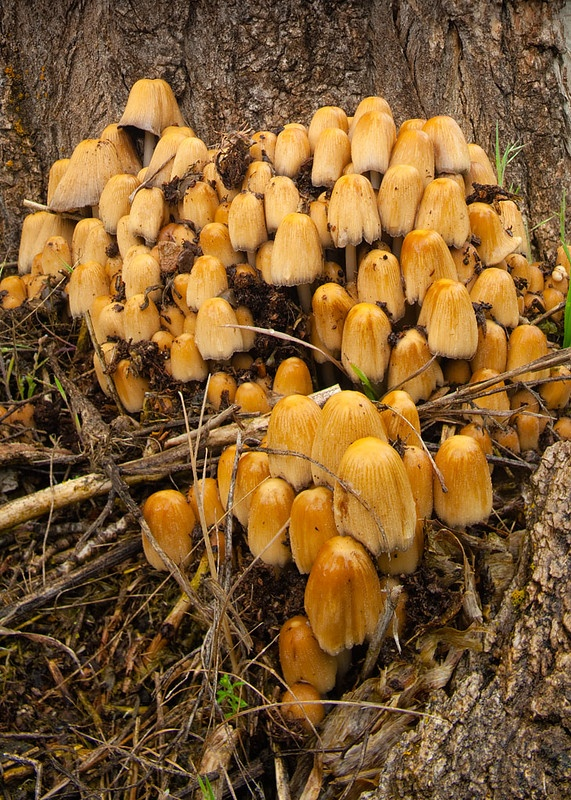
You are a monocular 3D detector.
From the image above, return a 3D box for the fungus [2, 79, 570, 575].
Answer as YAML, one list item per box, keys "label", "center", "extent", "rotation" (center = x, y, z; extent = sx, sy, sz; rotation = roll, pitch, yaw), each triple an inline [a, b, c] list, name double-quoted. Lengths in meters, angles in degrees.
- label: "fungus"
  center: [-0.047, -0.091, 3.147]
  extent: [1.895, 1.302, 1.905]
  rotation: [-10, 39, -16]
